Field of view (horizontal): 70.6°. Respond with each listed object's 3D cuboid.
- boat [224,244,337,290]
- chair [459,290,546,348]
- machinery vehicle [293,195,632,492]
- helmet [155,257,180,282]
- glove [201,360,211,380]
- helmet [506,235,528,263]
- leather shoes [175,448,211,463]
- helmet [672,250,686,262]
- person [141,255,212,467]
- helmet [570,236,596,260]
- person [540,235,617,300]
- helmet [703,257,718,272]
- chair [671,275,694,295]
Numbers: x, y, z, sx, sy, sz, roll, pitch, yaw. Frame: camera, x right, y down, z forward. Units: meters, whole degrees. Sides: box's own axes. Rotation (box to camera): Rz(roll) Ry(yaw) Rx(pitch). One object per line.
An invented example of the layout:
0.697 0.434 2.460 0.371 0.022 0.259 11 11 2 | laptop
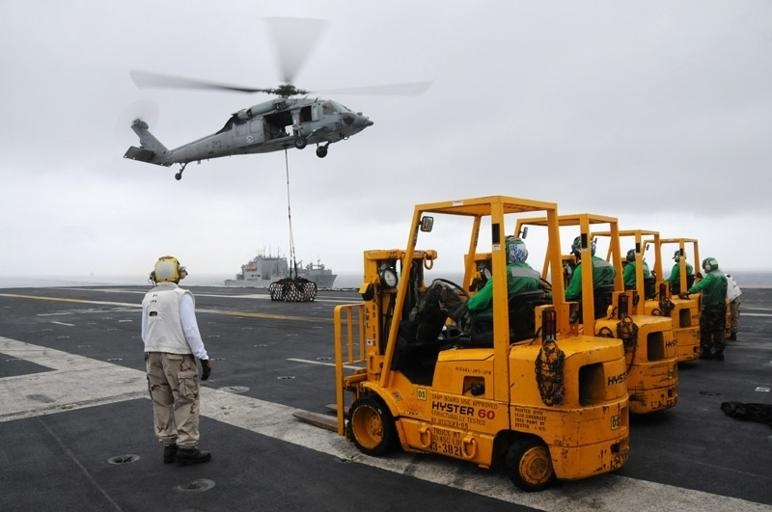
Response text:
-8.098 1.475 42.468 12.024 3.521 3.257 -2 3 36 | boat
1.489 0.799 6.997 0.917 0.575 0.651 1 2 38 | chair
1.237 1.029 7.725 1.967 3.482 4.077 -3 -1 -44 | machinery vehicle
-2.878 0.177 7.119 0.263 0.341 0.355 4 8 -2 | helmet
-2.472 1.532 7.439 0.094 0.282 0.247 -3 5 -23 | glove
1.539 -0.066 6.485 0.321 0.332 0.262 2 1 7 | helmet
-2.641 2.716 7.499 0.493 0.247 0.198 0 4 -19 | leather shoes
6.296 -0.004 11.669 0.202 0.239 0.263 1 17 -24 | helmet
-2.874 1.440 7.459 0.956 2.817 0.385 1 5 22 | person
2.882 -0.123 7.929 0.287 0.383 0.337 -1 -2 0 | helmet
2.841 0.226 7.947 0.894 1.298 0.698 -5 14 -19 | person
6.996 0.194 11.739 0.292 0.328 0.325 1 5 -44 | helmet
7.479 0.726 13.811 0.417 0.577 0.545 -2 8 -40 | chair
